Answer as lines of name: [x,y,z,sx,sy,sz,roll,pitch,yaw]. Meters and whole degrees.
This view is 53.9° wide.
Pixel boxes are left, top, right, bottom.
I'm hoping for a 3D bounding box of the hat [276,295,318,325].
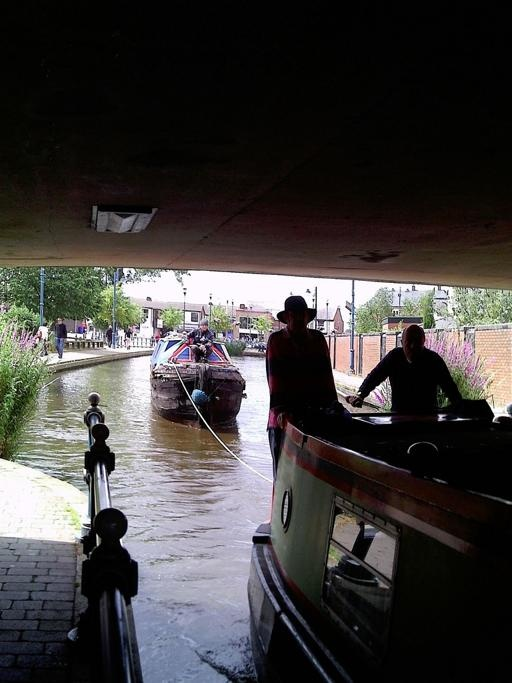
hat: [0.348,-0.320,5.070,0.460,0.205,0.534,-2,-24,-5]
